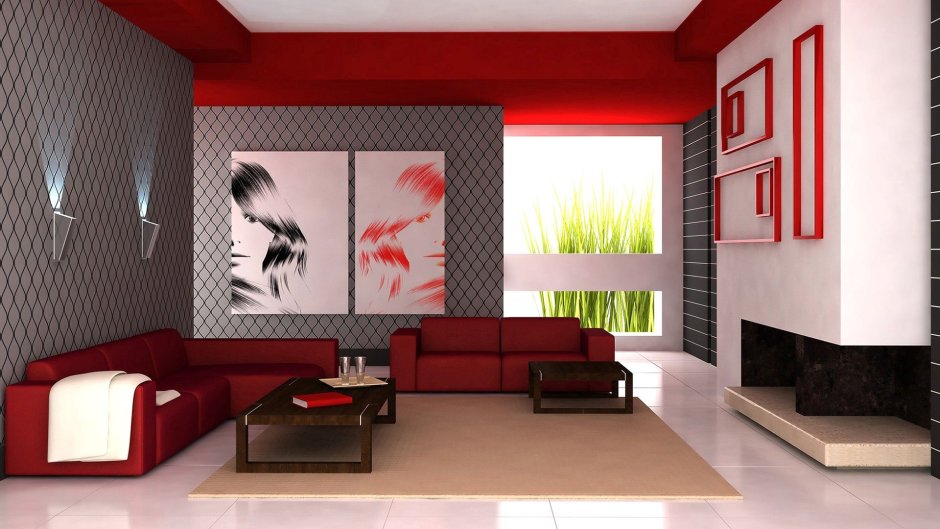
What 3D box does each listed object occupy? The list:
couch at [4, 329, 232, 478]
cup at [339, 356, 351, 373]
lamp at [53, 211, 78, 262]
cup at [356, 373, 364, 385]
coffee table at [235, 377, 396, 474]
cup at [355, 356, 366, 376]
[{"bbox_3d":[-3.144,1.223,5.684,1.246,0.934,1.667,4,11,16],"label":"couch"},{"bbox_3d":[-1.198,0.948,5.794,0.105,0.165,0.129,-3,12,-17],"label":"cup"},{"bbox_3d":[-3.764,-0.258,5.590,0.071,0.455,0.231,6,13,24],"label":"lamp"},{"bbox_3d":[-1.049,1.108,5.850,0.104,0.105,0.089,0,-8,-4],"label":"cup"},{"bbox_3d":[-1.373,1.401,5.584,1.193,0.556,1.119,1,11,2],"label":"coffee table"},{"bbox_3d":[-1.067,0.971,5.858,0.081,0.213,0.141,-1,11,-8],"label":"cup"}]
